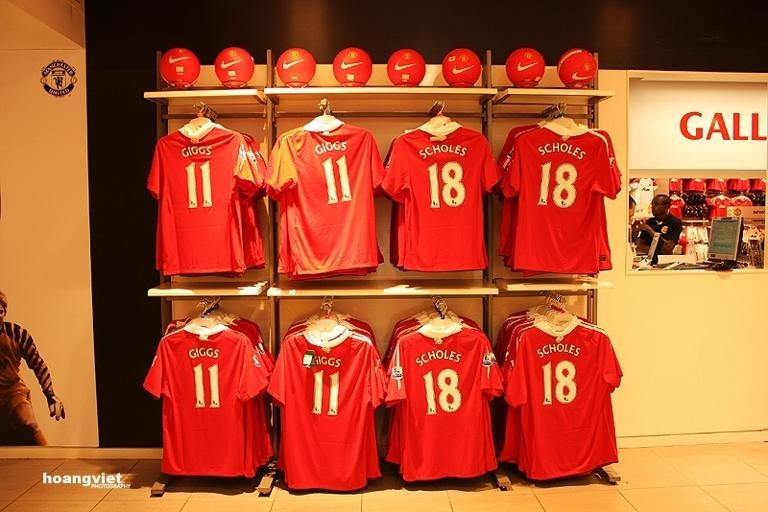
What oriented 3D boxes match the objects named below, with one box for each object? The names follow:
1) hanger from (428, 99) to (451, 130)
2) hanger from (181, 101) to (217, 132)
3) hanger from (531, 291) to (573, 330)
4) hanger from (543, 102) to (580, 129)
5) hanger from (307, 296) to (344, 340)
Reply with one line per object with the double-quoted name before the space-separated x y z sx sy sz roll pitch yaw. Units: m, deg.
"hanger" 0.496 -1.244 5.881 0.153 0.239 0.123 -7 9 -13
"hanger" -1.569 -1.174 5.800 0.240 0.093 0.306 32 46 33
"hanger" 1.489 0.502 5.902 0.273 0.366 0.112 18 5 30
"hanger" 1.562 -1.257 6.003 0.271 0.224 0.359 0 6 11
"hanger" -0.459 0.561 5.872 0.392 0.454 0.291 1 -21 1
